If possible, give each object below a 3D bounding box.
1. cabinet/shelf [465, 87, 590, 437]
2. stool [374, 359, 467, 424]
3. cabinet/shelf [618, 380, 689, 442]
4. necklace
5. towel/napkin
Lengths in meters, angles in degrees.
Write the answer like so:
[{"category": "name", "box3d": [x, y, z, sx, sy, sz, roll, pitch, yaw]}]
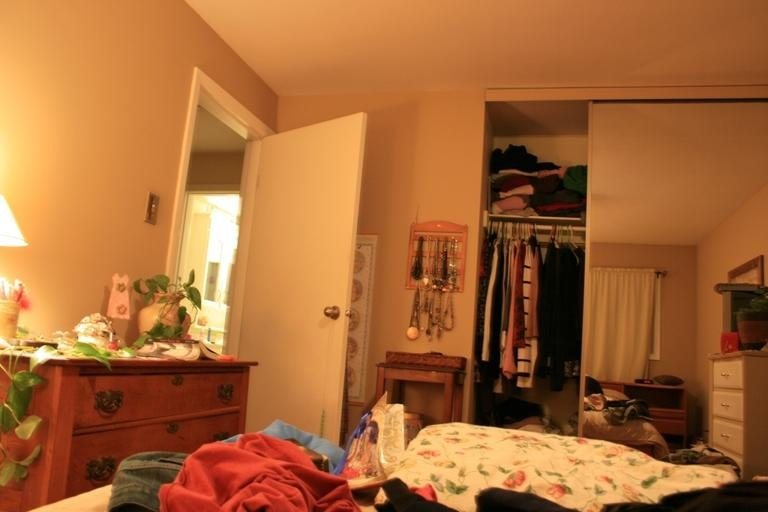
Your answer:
[{"category": "cabinet/shelf", "box3d": [1.275, 0.064, 4.760, 0.889, 2.641, 0.776, 2, -6, 13]}, {"category": "stool", "box3d": [0.288, 1.145, 4.387, 0.614, 0.583, 0.467, 0, -8, 21]}, {"category": "cabinet/shelf", "box3d": [2.017, 1.161, 4.135, 0.428, 0.390, 0.170, -1, -9, 18]}, {"category": "necklace", "box3d": [0.399, 0.245, 4.533, 0.392, 0.825, 0.087, 3, -6, 4]}, {"category": "towel/napkin", "box3d": [1.830, 0.528, 4.284, 0.504, 0.871, 0.041, 3, -6, 9]}]
